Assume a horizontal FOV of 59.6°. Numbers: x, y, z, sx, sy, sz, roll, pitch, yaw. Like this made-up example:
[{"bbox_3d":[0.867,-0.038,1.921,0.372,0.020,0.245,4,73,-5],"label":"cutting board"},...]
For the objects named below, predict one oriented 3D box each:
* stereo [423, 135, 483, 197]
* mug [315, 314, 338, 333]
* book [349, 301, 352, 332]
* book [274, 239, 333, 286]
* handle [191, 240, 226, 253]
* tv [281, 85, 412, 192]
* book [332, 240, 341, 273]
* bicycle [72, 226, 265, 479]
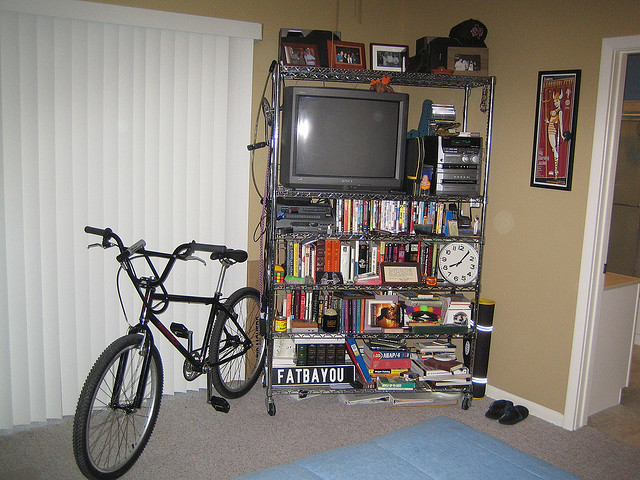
[{"bbox_3d":[1.006,-0.561,4.255,0.428,0.454,0.193,3,11,10],"label":"stereo"},{"bbox_3d":[0.068,0.648,4.293,0.137,0.154,0.085,1,3,3],"label":"mug"},{"bbox_3d":[0.239,0.591,4.321,0.024,0.239,0.016,4,11,19],"label":"book"},{"bbox_3d":[-0.113,0.165,4.241,0.428,0.332,0.177,0,11,-2],"label":"book"},{"bbox_3d":[-0.752,0.045,3.780,0.162,0.077,0.095,4,14,-7],"label":"handle"},{"bbox_3d":[0.107,-0.701,4.432,1.160,1.035,0.689,3,13,-12],"label":"tv"},{"bbox_3d":[0.127,0.128,4.319,0.055,0.246,0.040,-1,11,-6],"label":"book"},{"bbox_3d":[-1.055,0.720,3.835,0.639,1.375,2.081,3,5,22],"label":"bicycle"}]
